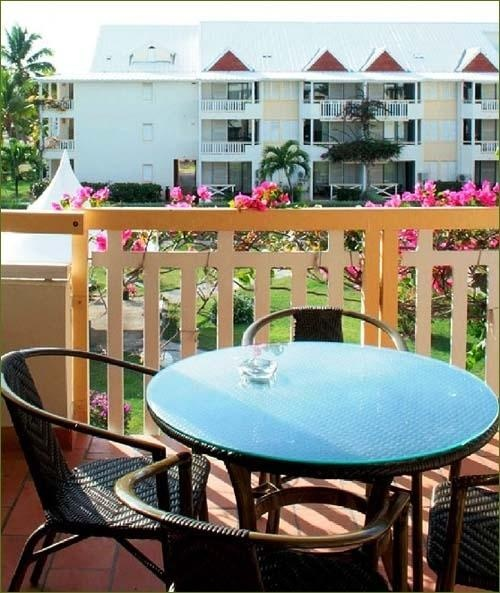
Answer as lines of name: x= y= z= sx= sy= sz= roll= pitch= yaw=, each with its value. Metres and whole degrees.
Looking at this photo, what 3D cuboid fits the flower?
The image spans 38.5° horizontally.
flower: x=0.219 y=-0.202 z=3.193 sx=1.810 sy=0.613 sz=1.265 roll=-3 pitch=9 yaw=-7
